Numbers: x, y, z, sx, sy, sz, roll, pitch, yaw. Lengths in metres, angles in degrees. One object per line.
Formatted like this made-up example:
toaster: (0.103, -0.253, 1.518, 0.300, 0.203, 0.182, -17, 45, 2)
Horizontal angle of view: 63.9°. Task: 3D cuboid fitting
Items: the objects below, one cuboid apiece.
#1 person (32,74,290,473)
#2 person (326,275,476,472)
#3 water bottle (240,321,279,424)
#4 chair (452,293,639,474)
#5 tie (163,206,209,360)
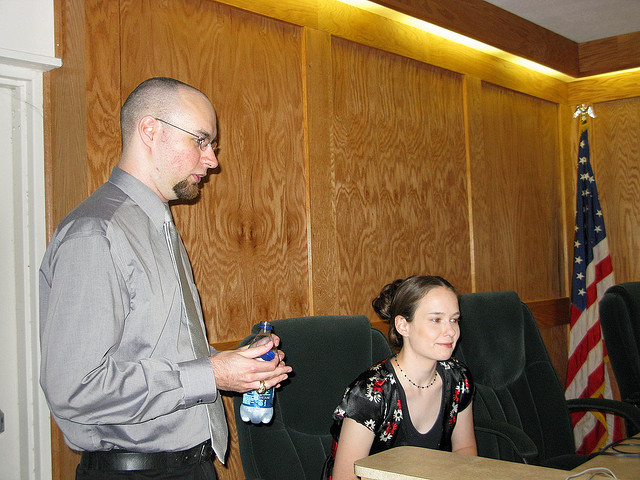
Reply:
person: (-0.436, 0.098, 1.759, 0.925, 1.386, 0.487, -1, -4, -33)
person: (0.340, 0.553, 2.202, 0.698, 0.773, 0.326, -2, -3, -20)
water bottle: (-0.208, 0.486, 1.793, 0.124, 0.369, 0.140, 5, 4, -10)
chair: (1.081, 0.733, 2.695, 0.852, 0.878, 0.578, 0, -4, -36)
tie: (-0.462, 0.189, 1.760, 0.100, 0.750, 0.034, -12, -14, 11)
